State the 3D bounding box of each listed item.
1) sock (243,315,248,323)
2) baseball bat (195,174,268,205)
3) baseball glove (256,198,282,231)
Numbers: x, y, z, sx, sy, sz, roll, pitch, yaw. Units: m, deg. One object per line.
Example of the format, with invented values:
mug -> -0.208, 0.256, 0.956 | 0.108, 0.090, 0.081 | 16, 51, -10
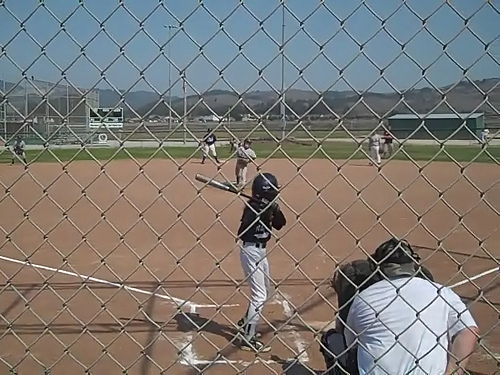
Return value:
sock -> -0.055, 1.525, 8.896 | 0.020, 0.080, 0.072 | 1, -49, -20
baseball bat -> -0.308, 0.052, 11.568 | 1.357, 0.180, 0.114 | 24, -86, -8
baseball glove -> 0.266, 0.318, 8.729 | 0.298, 0.122, 0.274 | 17, -82, -27
